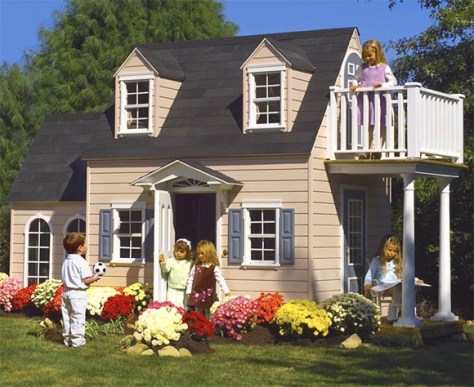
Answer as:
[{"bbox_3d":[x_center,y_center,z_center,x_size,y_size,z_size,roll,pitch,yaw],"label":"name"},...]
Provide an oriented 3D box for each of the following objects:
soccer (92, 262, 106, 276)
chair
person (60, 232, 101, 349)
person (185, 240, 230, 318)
[{"bbox_3d":[-2.915,1.642,19.264,0.274,0.333,0.284,2,8,8],"label":"soccer"},{"bbox_3d":[3.482,2.263,21.675,0.819,1.462,0.811,-2,1,10],"label":"chair"},{"bbox_3d":[-3.376,2.067,19.317,0.742,2.042,0.584,-2,1,2],"label":"person"},{"bbox_3d":[-0.700,1.952,20.976,0.946,1.297,1.375,-2,1,-4],"label":"person"}]
